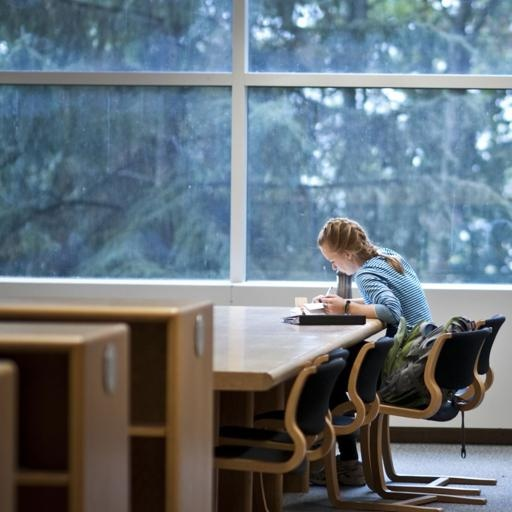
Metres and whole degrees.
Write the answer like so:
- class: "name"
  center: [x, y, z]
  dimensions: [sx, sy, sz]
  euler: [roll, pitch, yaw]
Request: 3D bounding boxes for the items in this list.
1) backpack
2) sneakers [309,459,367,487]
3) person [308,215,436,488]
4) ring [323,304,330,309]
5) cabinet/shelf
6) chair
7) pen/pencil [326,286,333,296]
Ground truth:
- class: "backpack"
  center: [0.581, 0.377, 2.674]
  dimensions: [0.251, 0.393, 0.353]
  euler: [-1, -2, -36]
- class: "sneakers"
  center: [0.349, 0.923, 3.075]
  dimensions: [0.250, 0.140, 0.104]
  euler: [2, -2, 17]
- class: "person"
  center: [0.487, 0.431, 3.117]
  dimensions: [0.525, 1.149, 0.478]
  euler: [-1, -2, 23]
- class: "ring"
  center: [0.277, 0.205, 2.791]
  dimensions: [0.015, 0.017, 0.012]
  euler: [-2, -3, 41]
- class: "cabinet/shelf"
  center: [-0.211, 0.233, 1.084]
  dimensions: [0.356, 0.342, 0.176]
  euler: [3, -14, -24]
- class: "chair"
  center: [0.398, 0.620, 2.597]
  dimensions: [0.936, 0.726, 0.569]
  euler: [-1, -4, 25]
- class: "pen/pencil"
  center: [0.366, 0.178, 3.565]
  dimensions: [0.008, 0.065, 0.008]
  euler: [18, -14, 2]
